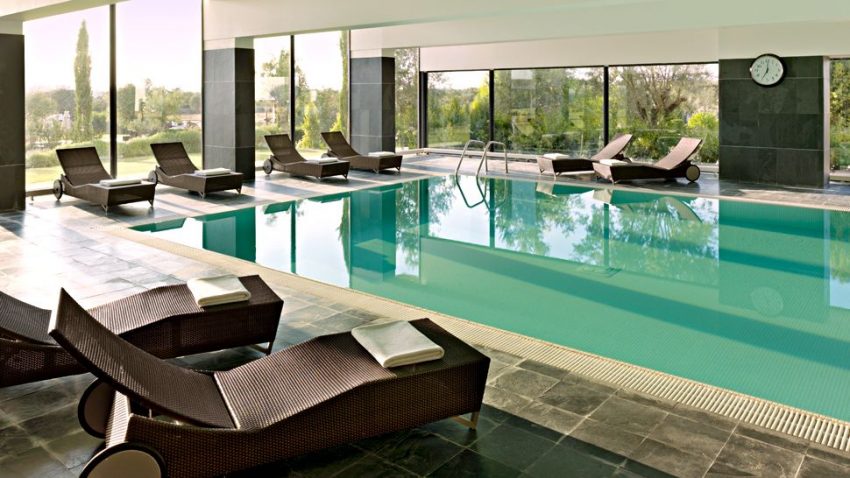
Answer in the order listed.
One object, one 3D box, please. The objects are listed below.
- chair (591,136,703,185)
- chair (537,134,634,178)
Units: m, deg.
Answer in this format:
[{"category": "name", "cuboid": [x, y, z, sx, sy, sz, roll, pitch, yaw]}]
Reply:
[{"category": "chair", "cuboid": [6.178, -2.163, 14.462, 2.743, 1.042, 1.448, -1, 7, -5]}, {"category": "chair", "cuboid": [4.741, -2.443, 15.426, 2.807, 1.022, 1.392, -2, 7, -11]}]
